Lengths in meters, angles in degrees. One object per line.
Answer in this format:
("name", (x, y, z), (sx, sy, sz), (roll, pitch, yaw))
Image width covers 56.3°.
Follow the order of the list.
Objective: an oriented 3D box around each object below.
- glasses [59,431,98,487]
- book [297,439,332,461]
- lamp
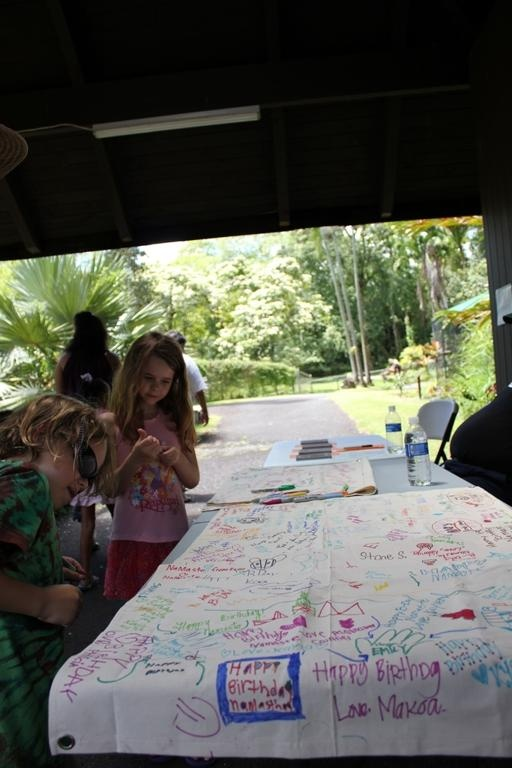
("glasses", (-0.350, 0.155, 0.997), (0.026, 0.085, 0.083), (-50, -23, -16))
("book", (0.296, 0.346, 2.464), (0.119, 0.028, 0.126), (-5, 16, 2))
("lamp", (-0.501, -1.628, 3.019), (1.040, 0.186, 0.116), (-9, -1, 2))
